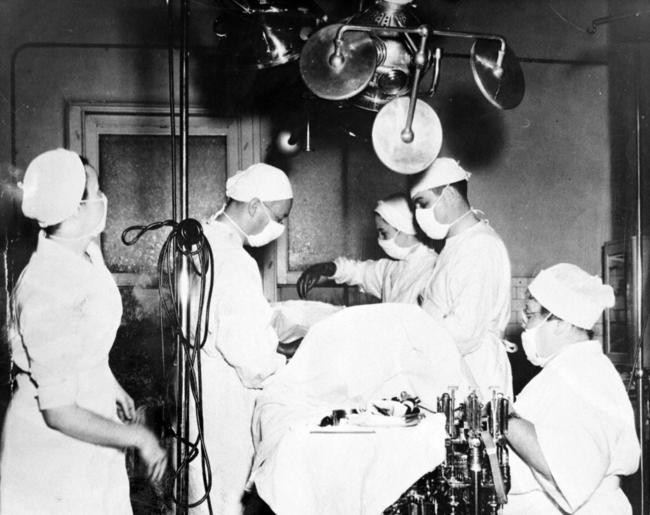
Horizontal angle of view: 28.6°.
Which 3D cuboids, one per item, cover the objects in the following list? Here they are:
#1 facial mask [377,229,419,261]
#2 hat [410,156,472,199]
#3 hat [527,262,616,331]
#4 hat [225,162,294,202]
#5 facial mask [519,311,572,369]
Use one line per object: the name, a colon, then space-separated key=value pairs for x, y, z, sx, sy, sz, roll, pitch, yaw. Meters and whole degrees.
facial mask: x=0.314 y=-0.055 z=5.609 sx=0.126 sy=0.102 sz=0.117 roll=-4 pitch=6 yaw=1
hat: x=0.515 y=-0.370 z=5.669 sx=0.210 sy=0.138 sz=0.164 roll=-27 pitch=7 yaw=9
hat: x=1.082 y=0.182 z=5.771 sx=0.356 sy=0.267 sz=0.164 roll=24 pitch=-19 yaw=-1
hat: x=-0.275 y=-0.332 z=5.553 sx=0.229 sy=0.127 sz=0.162 roll=-3 pitch=8 yaw=-13
facial mask: x=0.955 y=0.375 z=5.688 sx=0.229 sy=0.142 sz=0.188 roll=-40 pitch=4 yaw=16
